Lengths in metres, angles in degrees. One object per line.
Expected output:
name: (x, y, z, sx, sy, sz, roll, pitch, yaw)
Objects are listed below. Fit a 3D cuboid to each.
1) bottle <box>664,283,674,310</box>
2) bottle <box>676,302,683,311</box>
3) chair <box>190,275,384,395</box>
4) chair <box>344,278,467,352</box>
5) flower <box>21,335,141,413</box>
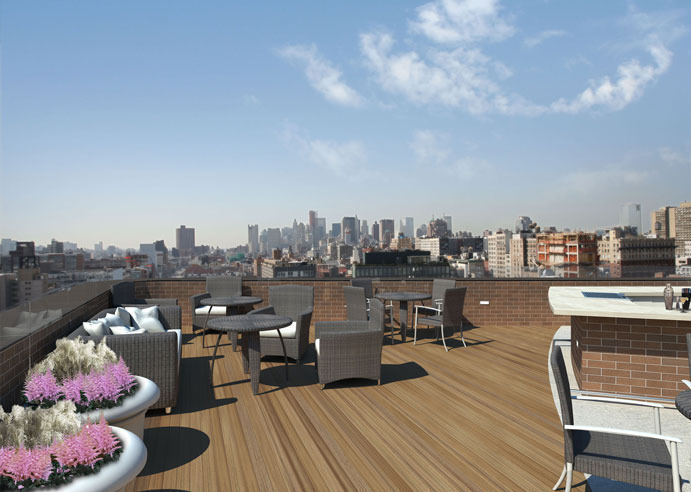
bottle: (3.721, 0.589, 5.739, 0.102, 0.245, 0.369, 6, 15, 33)
bottle: (3.831, 0.696, 5.721, 0.063, 0.123, 0.073, -1, 16, 30)
chair: (-0.276, 1.231, 6.234, 1.522, 0.895, 1.309, -3, -6, 32)
chair: (1.336, 1.159, 8.381, 1.283, 1.150, 1.100, 1, -1, 8)
flower: (-2.532, 1.141, 4.716, 1.045, 0.435, 1.113, 14, 1, -9)
